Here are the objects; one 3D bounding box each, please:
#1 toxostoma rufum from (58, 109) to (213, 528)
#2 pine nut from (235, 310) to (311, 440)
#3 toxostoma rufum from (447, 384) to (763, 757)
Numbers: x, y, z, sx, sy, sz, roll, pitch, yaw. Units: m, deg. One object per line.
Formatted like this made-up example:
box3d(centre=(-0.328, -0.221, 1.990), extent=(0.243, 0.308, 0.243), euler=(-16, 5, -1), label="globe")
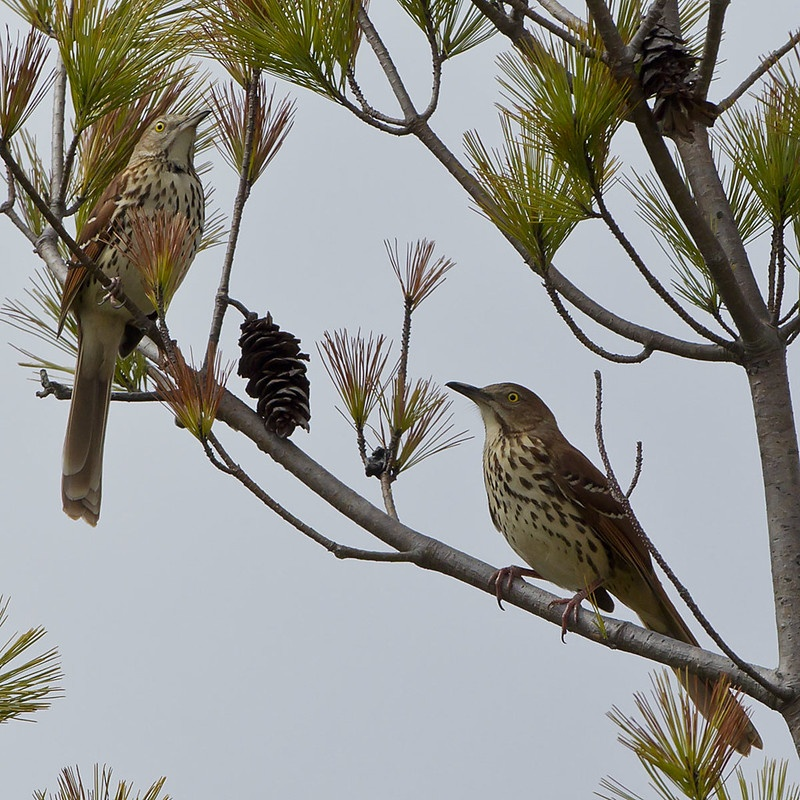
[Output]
box3d(centre=(-0.764, -0.301, 4.238), extent=(0.209, 1.134, 0.346), euler=(15, 5, -43), label="toxostoma rufum")
box3d(centre=(-0.310, -0.041, 4.098), extent=(0.102, 0.330, 0.120), euler=(-7, -1, -10), label="pine nut")
box3d(centre=(0.562, 0.376, 4.387), extent=(0.837, 0.769, 0.323), euler=(12, -23, -22), label="toxostoma rufum")
